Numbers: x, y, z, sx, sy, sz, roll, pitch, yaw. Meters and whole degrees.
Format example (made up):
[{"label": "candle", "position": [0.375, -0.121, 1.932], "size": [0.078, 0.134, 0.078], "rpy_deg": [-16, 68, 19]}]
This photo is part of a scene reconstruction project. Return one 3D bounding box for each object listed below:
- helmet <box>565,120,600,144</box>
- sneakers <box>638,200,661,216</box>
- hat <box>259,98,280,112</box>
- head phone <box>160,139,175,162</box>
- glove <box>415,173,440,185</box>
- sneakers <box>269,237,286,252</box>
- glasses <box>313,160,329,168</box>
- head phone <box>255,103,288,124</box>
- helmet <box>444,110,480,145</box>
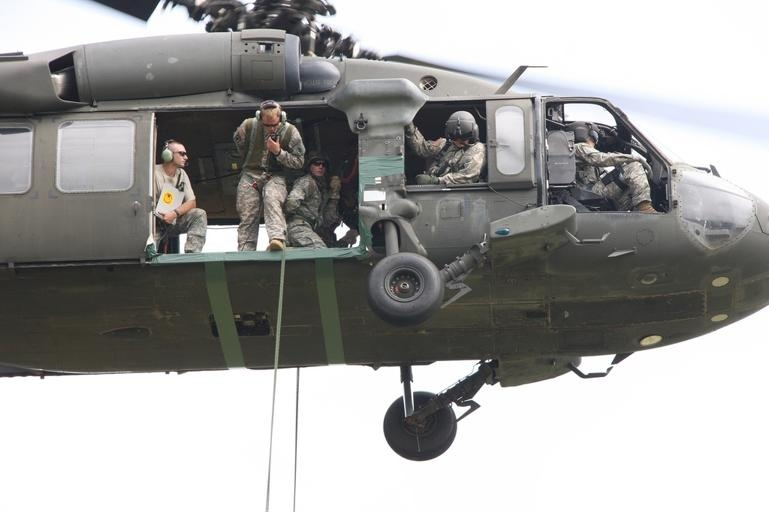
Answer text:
[{"label": "helmet", "position": [2.841, -1.748, 17.558], "size": [0.449, 0.313, 0.329], "rpy_deg": [-7, 3, -9]}, {"label": "sneakers", "position": [3.605, -0.649, 16.922], "size": [0.298, 0.148, 0.624], "rpy_deg": [5, 18, 8]}, {"label": "hat", "position": [-1.592, -2.054, 16.964], "size": [0.270, 0.107, 0.282], "rpy_deg": [0, -5, -7]}, {"label": "head phone", "position": [-3.092, -1.486, 17.595], "size": [0.180, 0.314, 0.390], "rpy_deg": [-4, -16, 5]}, {"label": "glove", "position": [0.587, -1.046, 16.831], "size": [0.239, 0.081, 0.170], "rpy_deg": [-3, -14, 30]}, {"label": "sneakers", "position": [-1.474, -0.145, 16.789], "size": [0.222, 0.145, 0.186], "rpy_deg": [0, 20, -8]}, {"label": "glasses", "position": [-0.919, -1.337, 17.936], "size": [0.140, 0.037, 0.127], "rpy_deg": [8, -22, -24]}, {"label": "head phone", "position": [-1.571, -1.940, 16.948], "size": [0.391, 0.244, 0.340], "rpy_deg": [-1, -4, -4]}, {"label": "helmet", "position": [1.093, -1.742, 17.133], "size": [0.509, 0.354, 0.484], "rpy_deg": [0, 1, -27]}]
